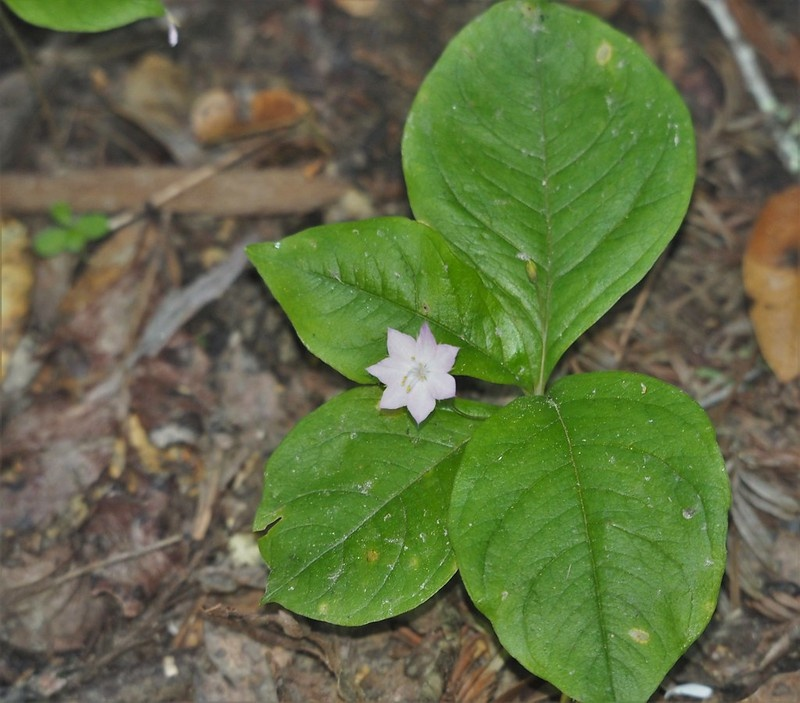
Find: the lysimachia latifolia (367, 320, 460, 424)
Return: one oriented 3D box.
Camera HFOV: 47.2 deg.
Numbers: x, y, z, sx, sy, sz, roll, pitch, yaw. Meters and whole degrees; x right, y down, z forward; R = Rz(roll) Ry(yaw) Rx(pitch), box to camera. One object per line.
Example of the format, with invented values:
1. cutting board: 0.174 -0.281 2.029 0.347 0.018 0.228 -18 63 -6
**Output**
1. lysimachia latifolia: 0.059 0.058 3.229 0.324 0.088 0.338 -5 93 11
